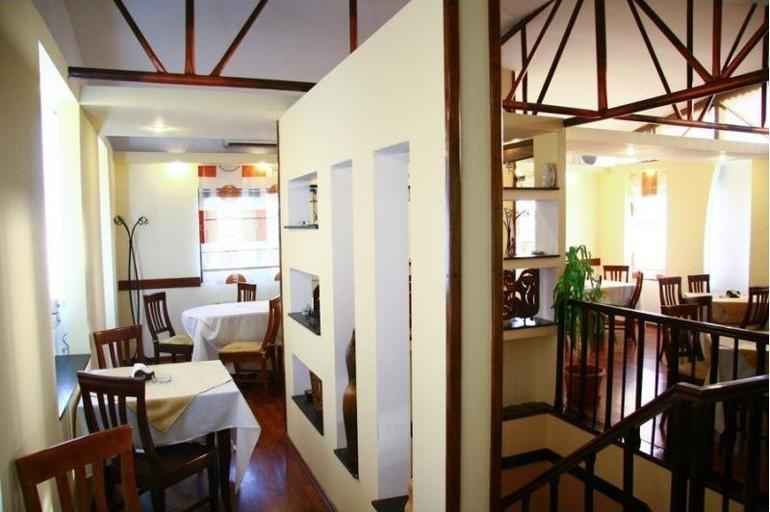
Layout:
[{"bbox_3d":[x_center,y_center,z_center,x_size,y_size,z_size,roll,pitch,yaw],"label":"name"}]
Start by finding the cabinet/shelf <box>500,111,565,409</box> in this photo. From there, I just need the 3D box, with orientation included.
[{"bbox_3d":[1.929,-0.066,7.665,0.790,3.112,3.731,-3,4,14],"label":"cabinet/shelf"}]
